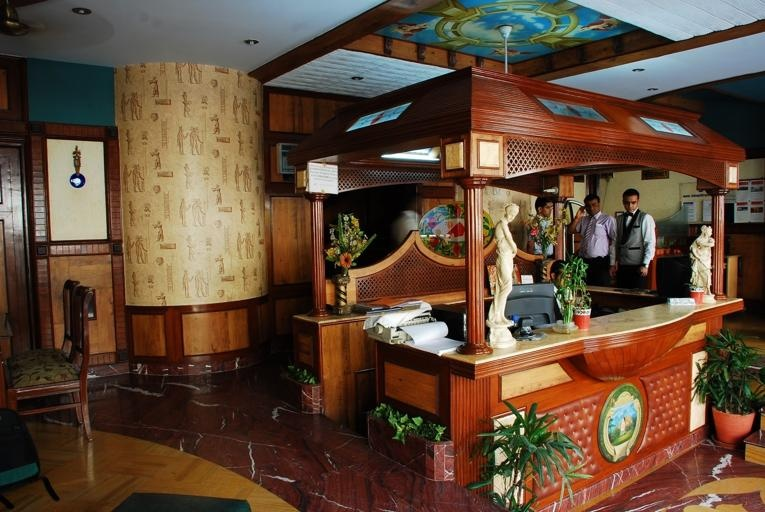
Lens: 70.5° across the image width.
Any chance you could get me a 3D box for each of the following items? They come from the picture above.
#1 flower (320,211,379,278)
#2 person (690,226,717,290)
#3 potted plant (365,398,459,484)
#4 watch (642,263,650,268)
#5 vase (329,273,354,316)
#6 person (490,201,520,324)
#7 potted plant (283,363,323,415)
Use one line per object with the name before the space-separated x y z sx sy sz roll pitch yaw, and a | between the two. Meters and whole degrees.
flower | -0.437 -0.160 6.614 0.527 0.712 0.694 0 12 -1
person | 3.715 0.036 6.269 0.239 0.793 0.225 2 13 8
potted plant | 0.215 1.724 5.086 0.332 0.302 1.033 -3 5 -38
watch | 3.708 0.127 7.595 0.079 0.028 0.081 -17 -14 28
vase | -0.481 0.428 6.360 0.219 0.467 0.294 -1 12 -4
person | 1.064 0.084 4.779 0.206 1.091 0.285 3 13 12
potted plant | -0.884 1.507 6.077 0.202 0.203 0.624 -1 1 -30
